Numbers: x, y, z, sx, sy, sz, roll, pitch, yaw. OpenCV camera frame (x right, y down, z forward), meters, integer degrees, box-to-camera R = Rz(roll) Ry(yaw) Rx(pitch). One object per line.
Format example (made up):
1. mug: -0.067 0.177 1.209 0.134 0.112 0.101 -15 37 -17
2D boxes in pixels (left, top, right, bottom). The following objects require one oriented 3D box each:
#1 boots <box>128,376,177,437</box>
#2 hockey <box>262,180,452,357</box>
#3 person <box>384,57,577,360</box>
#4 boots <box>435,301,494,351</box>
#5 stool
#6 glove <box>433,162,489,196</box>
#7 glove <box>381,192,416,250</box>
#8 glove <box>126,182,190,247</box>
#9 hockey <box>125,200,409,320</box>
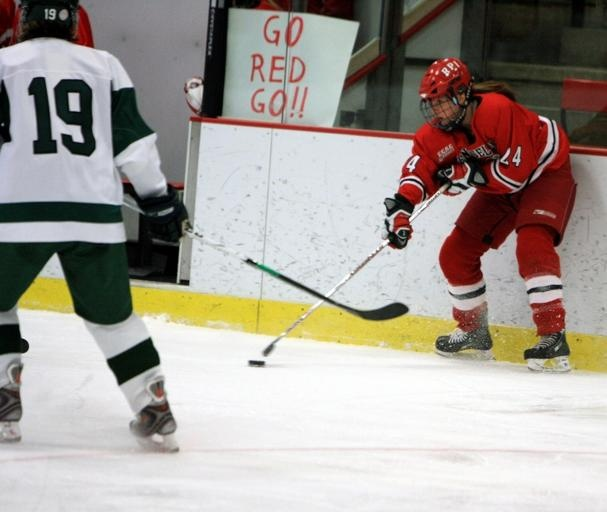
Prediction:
1. boots: -0.476 0.472 2.214 0.208 0.169 0.093 -18 -6 38
2. hockey: 0.310 0.048 3.672 1.412 0.154 0.118 -35 25 -8
3. person: 0.855 -0.180 3.410 0.921 1.415 0.409 6 8 9
4. boots: 0.771 0.368 3.750 0.394 0.298 0.149 4 9 5
5. stool: -0.909 -0.096 4.708 0.373 0.443 0.331 12 -8 21
6. glove: 0.751 -0.389 3.411 0.303 0.096 0.175 2 23 28
7. glove: 0.430 -0.161 3.355 0.168 0.232 0.112 13 6 24
8. glove: -0.517 -0.153 2.337 0.245 0.184 0.153 7 46 11
9. hockey: -0.108 0.020 3.632 1.239 0.133 0.131 26 -4 6
